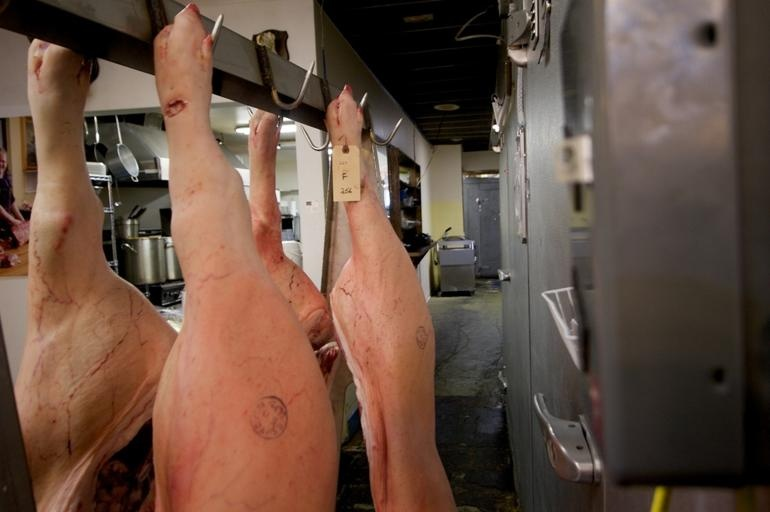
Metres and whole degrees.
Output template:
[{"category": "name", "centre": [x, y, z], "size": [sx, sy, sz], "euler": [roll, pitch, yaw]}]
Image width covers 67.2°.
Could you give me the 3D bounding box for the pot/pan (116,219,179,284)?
[{"category": "pot/pan", "centre": [-2.080, -0.015, 5.018], "size": [0.642, 0.600, 0.625], "euler": [-2, -1, -40]}]

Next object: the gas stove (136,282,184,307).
[{"category": "gas stove", "centre": [-1.777, 0.295, 4.589], "size": [0.257, 0.191, 0.376], "euler": [-1, 1, 4]}]
